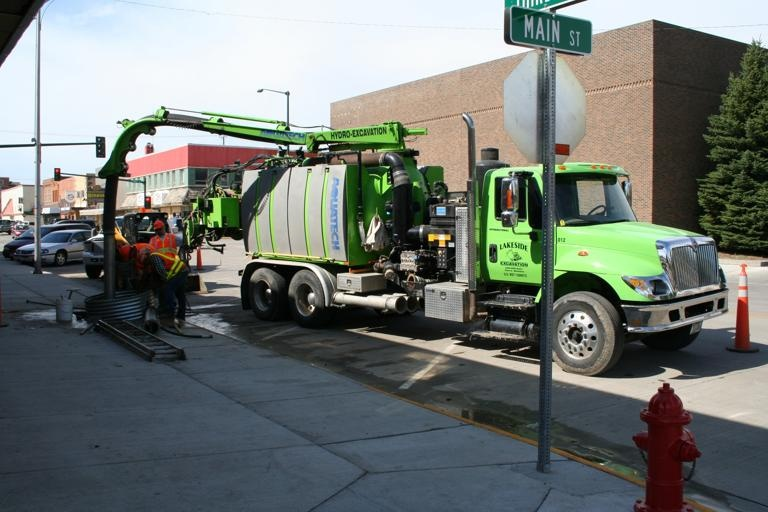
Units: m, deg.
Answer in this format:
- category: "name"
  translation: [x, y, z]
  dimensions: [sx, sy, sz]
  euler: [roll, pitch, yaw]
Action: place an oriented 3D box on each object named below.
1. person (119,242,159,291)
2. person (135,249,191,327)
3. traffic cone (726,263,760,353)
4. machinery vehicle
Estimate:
- category: "person"
  translation: [-6.200, 0.142, 14.807]
  dimensions: [0.944, 1.001, 3.014]
  euler: [-4, 1, -38]
- category: "person"
  translation: [-4.820, 0.614, 12.797]
  dimensions: [1.125, 1.727, 1.024]
  euler: [0, -1, 16]
- category: "traffic cone"
  translation: [6.555, 0.940, 10.681]
  dimensions: [0.635, 1.216, 0.543]
  euler: [1, 0, -22]
- category: "machinery vehicle"
  translation: [0.458, -0.780, 11.968]
  dimensions: [10.986, 5.000, 2.493]
  euler: [4, 6, 33]
